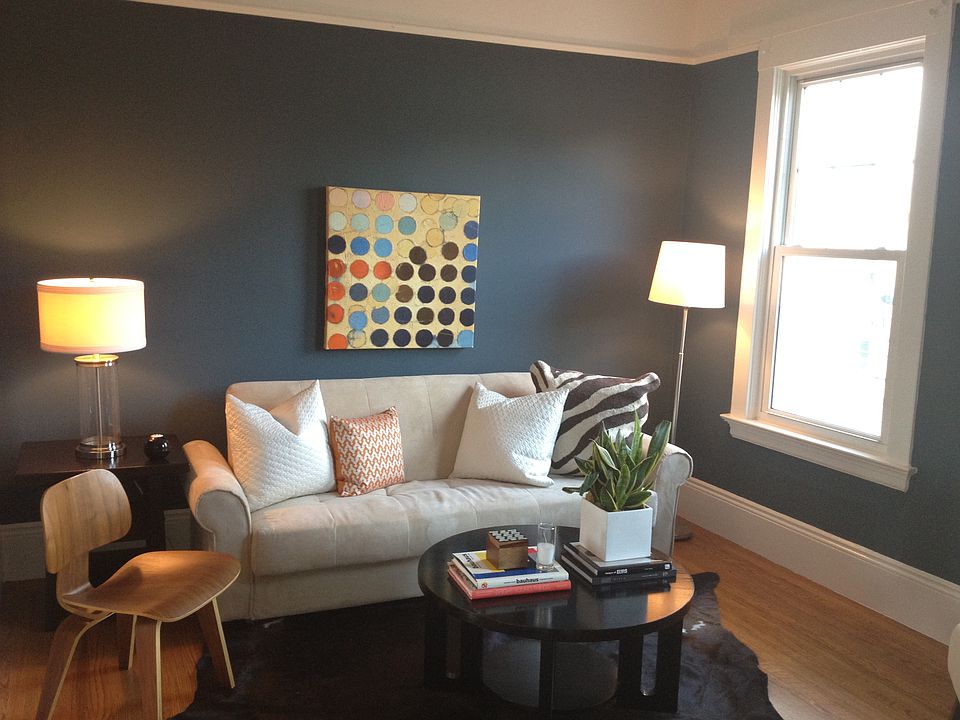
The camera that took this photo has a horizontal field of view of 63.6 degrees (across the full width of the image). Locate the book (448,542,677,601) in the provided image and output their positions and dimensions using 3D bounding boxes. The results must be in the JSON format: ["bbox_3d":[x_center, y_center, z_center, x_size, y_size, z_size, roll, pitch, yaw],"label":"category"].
[{"bbox_3d":[0.264,0.813,2.926,0.467,0.049,0.329,0,4,-13],"label":"book"}]

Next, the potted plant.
[{"bbox_3d":[0.491,0.490,3.159,0.444,0.655,0.469,-2,8,-12],"label":"potted plant"}]

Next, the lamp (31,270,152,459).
[{"bbox_3d":[-1.773,0.035,3.593,0.440,0.814,0.408,-4,10,-17],"label":"lamp"}]
